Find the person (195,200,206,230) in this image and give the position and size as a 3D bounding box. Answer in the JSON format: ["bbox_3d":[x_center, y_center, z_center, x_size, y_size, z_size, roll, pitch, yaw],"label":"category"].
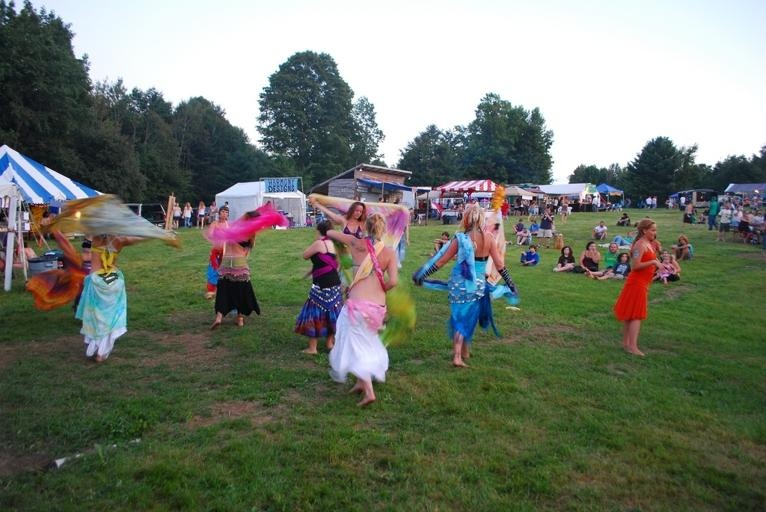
[{"bbox_3d":[-11.110,-2.468,28.996,0.379,1.521,2.043,0,8,-24],"label":"person"}]

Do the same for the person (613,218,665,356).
[{"bbox_3d":[4.556,0.526,8.539,0.622,2.359,0.896,7,8,28],"label":"person"}]

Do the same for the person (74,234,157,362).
[{"bbox_3d":[-4.479,0.681,7.657,0.645,1.999,0.448,-1,8,-33],"label":"person"}]

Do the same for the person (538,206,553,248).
[{"bbox_3d":[6.972,-1.275,20.427,0.579,1.781,0.499,7,-5,18],"label":"person"}]

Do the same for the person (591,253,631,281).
[{"bbox_3d":[6.890,0.370,14.376,1.430,0.922,0.668,-4,4,-10],"label":"person"}]

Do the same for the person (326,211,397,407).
[{"bbox_3d":[-0.290,0.728,6.721,0.864,2.625,0.698,5,7,11],"label":"person"}]

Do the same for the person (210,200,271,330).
[{"bbox_3d":[-2.731,0.191,8.932,0.980,2.495,0.759,1,18,-29],"label":"person"}]

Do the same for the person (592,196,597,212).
[{"bbox_3d":[18.408,-4.366,41.335,0.408,1.124,1.328,6,7,23],"label":"person"}]

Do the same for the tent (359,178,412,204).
[{"bbox_3d":[0.146,-4.458,33.195,3.877,1.564,2.187,4,7,0],"label":"tent"}]

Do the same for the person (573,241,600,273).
[{"bbox_3d":[6.448,0.102,14.986,0.676,1.037,0.931,10,14,35],"label":"person"}]

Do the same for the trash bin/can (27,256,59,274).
[{"bbox_3d":[-8.179,0.235,11.462,0.376,0.283,0.414,-1,3,-25],"label":"trash bin/can"}]

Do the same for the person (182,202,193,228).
[{"bbox_3d":[-12.527,-2.559,30.448,0.428,1.504,3.522,0,8,-23],"label":"person"}]

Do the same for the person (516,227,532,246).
[{"bbox_3d":[6.441,-0.760,21.354,0.795,0.866,0.579,7,-1,-30],"label":"person"}]

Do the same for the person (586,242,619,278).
[{"bbox_3d":[7.040,0.254,14.940,0.524,0.997,1.320,11,32,37],"label":"person"}]

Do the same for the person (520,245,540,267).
[{"bbox_3d":[5.153,0.018,16.712,0.590,0.695,0.886,9,9,39],"label":"person"}]

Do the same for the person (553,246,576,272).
[{"bbox_3d":[6.087,0.216,15.750,0.582,0.989,0.917,6,-2,28],"label":"person"}]

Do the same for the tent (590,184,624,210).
[{"bbox_3d":[23.532,-6.101,49.427,2.785,2.945,13.508,7,8,26],"label":"tent"}]
